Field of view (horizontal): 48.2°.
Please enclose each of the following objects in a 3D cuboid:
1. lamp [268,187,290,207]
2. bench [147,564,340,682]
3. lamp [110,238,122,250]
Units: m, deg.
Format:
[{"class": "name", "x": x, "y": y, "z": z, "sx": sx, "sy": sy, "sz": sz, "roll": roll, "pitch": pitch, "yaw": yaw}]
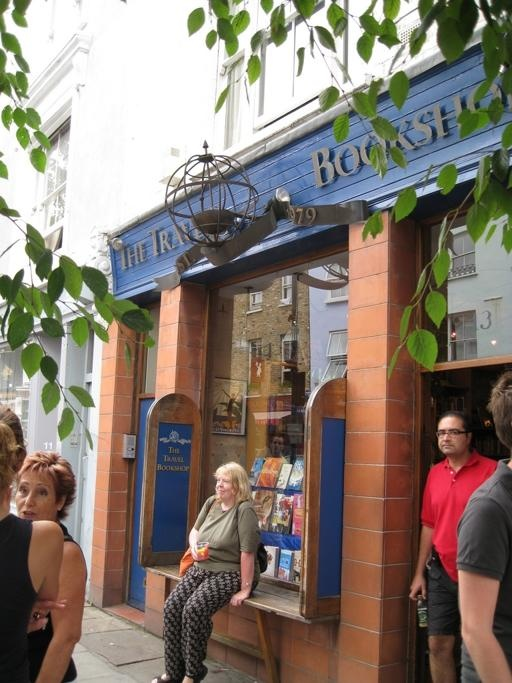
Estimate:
[{"class": "lamp", "x": 0.221, "y": -1.201, "z": 4.803, "sx": 0.127, "sy": 0.176, "sz": 0.161, "roll": 9, "pitch": -6, "yaw": 42}, {"class": "bench", "x": -0.039, "y": 2.242, "z": 4.519, "sx": 0.455, "sy": 0.665, "sz": 1.345, "roll": 13, "pitch": -15, "yaw": -37}, {"class": "lamp", "x": -1.751, "y": -1.231, "z": 7.240, "sx": 0.150, "sy": 0.174, "sz": 0.178, "roll": 3, "pitch": -21, "yaw": -6}]
